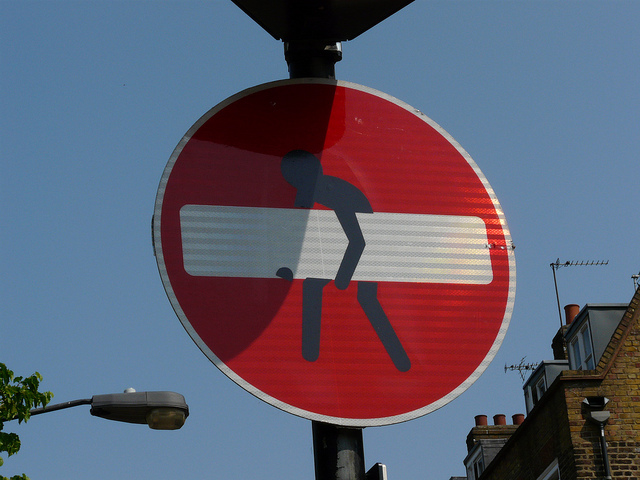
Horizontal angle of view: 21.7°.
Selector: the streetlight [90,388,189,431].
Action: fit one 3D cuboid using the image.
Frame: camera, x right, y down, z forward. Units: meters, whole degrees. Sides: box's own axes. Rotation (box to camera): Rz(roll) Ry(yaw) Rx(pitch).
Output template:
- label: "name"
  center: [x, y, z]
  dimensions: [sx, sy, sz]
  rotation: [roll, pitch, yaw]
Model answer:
- label: "streetlight"
  center: [-2.483, 2.394, 22.933]
  dimensions: [1.375, 0.571, 0.735]
  rotation: [4, -27, -16]
